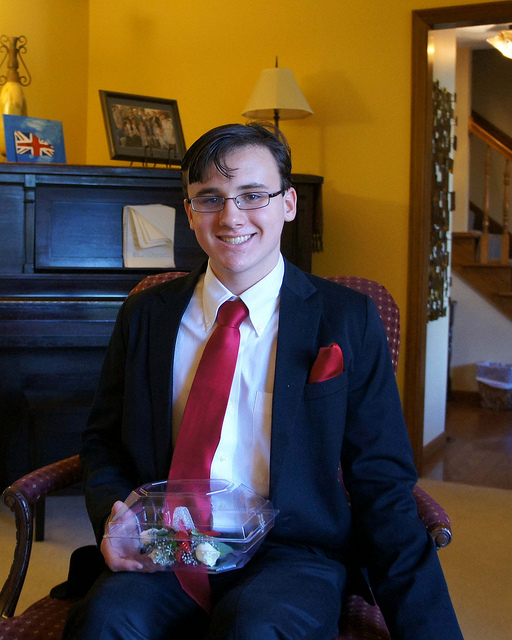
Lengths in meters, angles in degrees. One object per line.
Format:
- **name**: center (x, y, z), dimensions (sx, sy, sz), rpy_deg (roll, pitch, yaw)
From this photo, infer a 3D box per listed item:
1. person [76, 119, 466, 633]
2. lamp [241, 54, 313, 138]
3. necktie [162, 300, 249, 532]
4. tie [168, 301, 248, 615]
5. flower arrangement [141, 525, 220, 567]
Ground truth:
- **person**: center (-0.009, 0.065, 0.917), dimensions (0.517, 0.830, 0.540), rpy_deg (0, 4, -17)
- **lamp**: center (0.104, -1.123, 2.987), dimensions (0.366, 0.423, 0.333), rpy_deg (2, 12, 10)
- **necktie**: center (-0.081, 0.133, 0.902), dimensions (0.083, 0.312, 0.043), rpy_deg (10, -13, 4)
- **tie**: center (-0.078, 0.107, 0.936), dimensions (0.078, 0.271, 0.161), rpy_deg (2, 4, 19)
- **flower arrangement**: center (-0.098, 0.285, 0.743), dimensions (0.071, 0.025, 0.052), rpy_deg (-10, 39, -26)
